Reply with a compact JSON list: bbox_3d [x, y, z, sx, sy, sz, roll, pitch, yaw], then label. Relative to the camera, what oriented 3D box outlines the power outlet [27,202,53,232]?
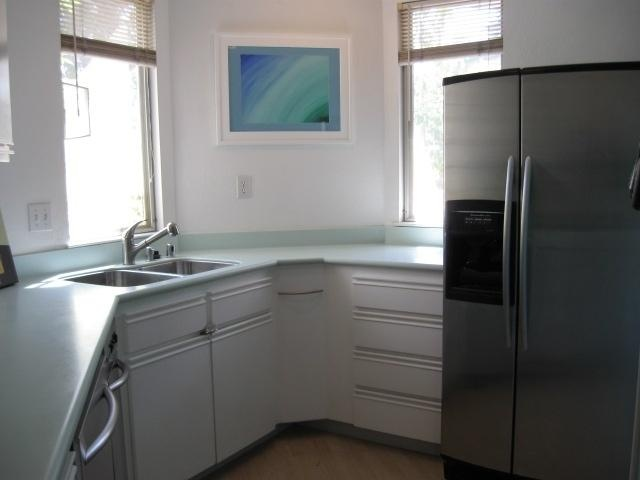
[{"bbox_3d":[-1.387,-0.115,2.413,0.021,0.186,0.127,4,5,38],"label":"power outlet"}]

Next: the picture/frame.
[{"bbox_3d":[-0.278,-0.968,3.078,0.638,0.542,0.033,-1,3,-9],"label":"picture/frame"}]

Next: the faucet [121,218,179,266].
[{"bbox_3d":[-0.951,-0.016,2.756,0.292,0.232,0.357,-5,10,-16],"label":"faucet"}]
